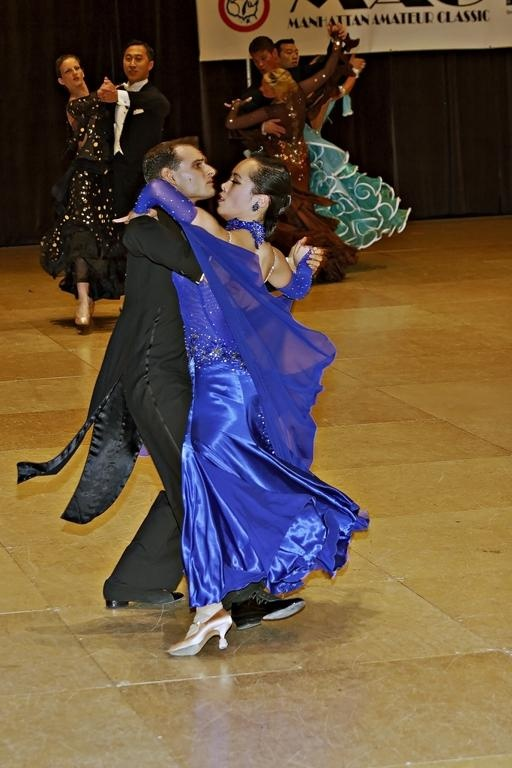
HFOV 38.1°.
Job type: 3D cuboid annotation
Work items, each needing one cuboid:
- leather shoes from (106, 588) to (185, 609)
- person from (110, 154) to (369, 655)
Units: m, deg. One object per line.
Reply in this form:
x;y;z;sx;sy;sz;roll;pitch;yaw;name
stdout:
-0.329;0.644;2.188;0.242;0.056;0.077;-4;-2;-7;leather shoes
0.012;-0.019;1.967;0.580;1.144;0.288;-3;2;-44;person
